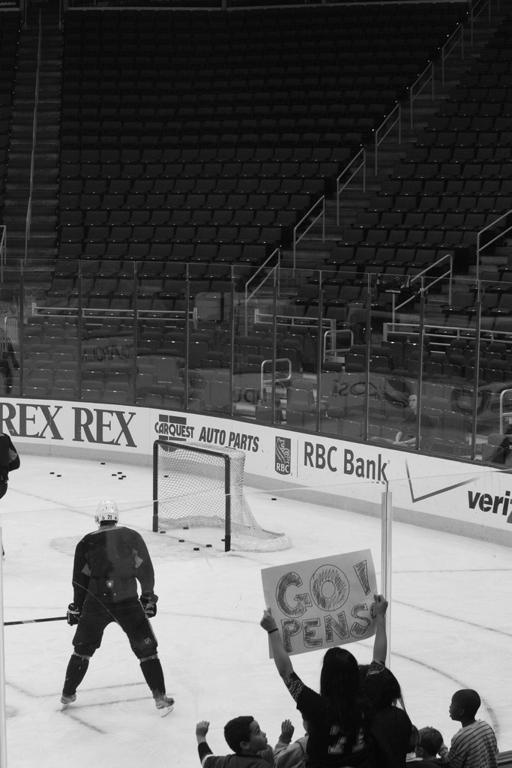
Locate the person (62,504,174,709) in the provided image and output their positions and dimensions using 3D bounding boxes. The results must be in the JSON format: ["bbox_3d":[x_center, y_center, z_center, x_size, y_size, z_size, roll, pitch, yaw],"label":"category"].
[{"bbox_3d":[-0.704,1.078,6.567,0.484,0.953,0.636,2,-3,-8],"label":"person"}]

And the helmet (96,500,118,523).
[{"bbox_3d":[-0.775,0.665,6.861,0.088,0.120,0.117,1,4,-7],"label":"helmet"}]

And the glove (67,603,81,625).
[{"bbox_3d":[-0.889,1.112,6.429,0.058,0.081,0.038,-1,-43,-24],"label":"glove"}]
